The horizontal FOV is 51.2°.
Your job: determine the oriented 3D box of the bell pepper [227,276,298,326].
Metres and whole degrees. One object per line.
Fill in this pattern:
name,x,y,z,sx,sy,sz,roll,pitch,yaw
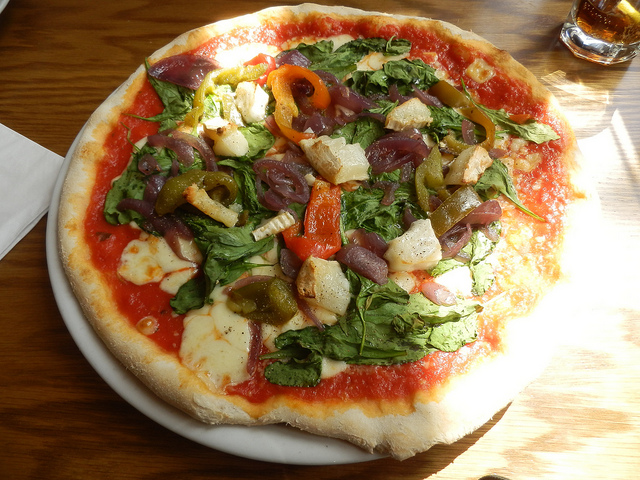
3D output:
bell pepper,-0.373,0.419,4.417,0.417,0.096,0.298,-19,80,-7
